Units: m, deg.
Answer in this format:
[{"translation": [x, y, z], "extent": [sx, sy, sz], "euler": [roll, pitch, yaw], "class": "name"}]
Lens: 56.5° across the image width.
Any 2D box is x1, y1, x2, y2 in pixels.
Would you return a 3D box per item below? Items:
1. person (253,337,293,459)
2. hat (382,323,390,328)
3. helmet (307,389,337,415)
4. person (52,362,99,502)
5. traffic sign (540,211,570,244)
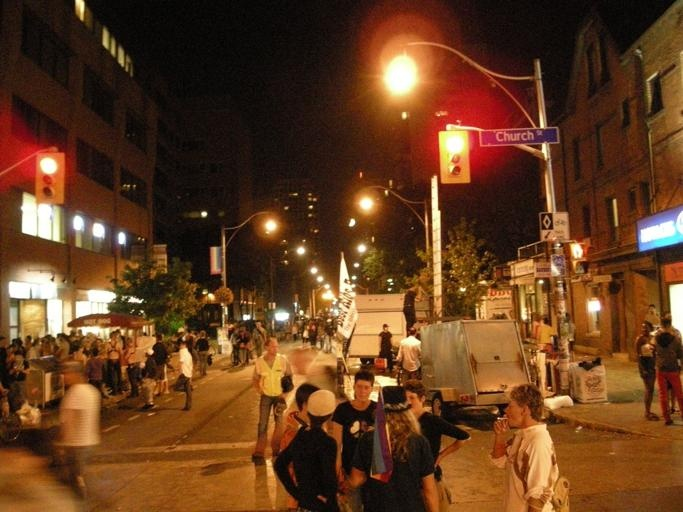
[{"translation": [-1.592, 3.109, 14.102], "extent": [0.894, 2.680, 0.839], "euler": [2, 0, 13], "class": "person"}, {"translation": [1.950, 3.070, 27.934], "extent": [0.314, 0.167, 0.486], "euler": [0, -4, 2], "class": "hat"}, {"translation": [-0.268, 1.934, 8.291], "extent": [0.429, 0.243, 0.614], "euler": [1, 0, -5], "class": "helmet"}, {"translation": [-4.395, 2.835, 10.616], "extent": [0.772, 2.371, 0.917], "euler": [1, 0, -17], "class": "person"}, {"translation": [6.228, -0.910, 18.563], "extent": [0.680, 0.838, 1.224], "euler": [-10, -16, 37], "class": "traffic sign"}]
